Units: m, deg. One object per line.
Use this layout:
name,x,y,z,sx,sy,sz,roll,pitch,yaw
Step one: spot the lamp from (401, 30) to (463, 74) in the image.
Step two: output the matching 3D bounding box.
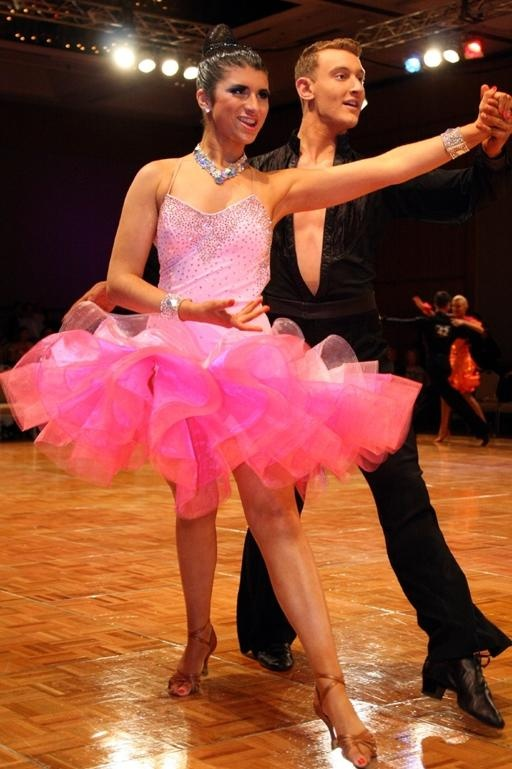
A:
lamp,2.793,-5.194,10.424,0.601,0.226,0.805,-11,16,11

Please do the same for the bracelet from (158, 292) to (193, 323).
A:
bracelet,-0.155,-0.143,1.219,0.062,0.039,0.032,4,-16,-22

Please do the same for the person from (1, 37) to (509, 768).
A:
person,-0.058,-0.072,1.361,0.818,1.413,0.524,-7,-11,37

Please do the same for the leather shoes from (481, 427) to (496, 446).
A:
leather shoes,3.459,0.789,9.915,0.118,0.260,0.262,-5,29,-4

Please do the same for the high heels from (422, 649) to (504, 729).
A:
high heels,0.411,0.618,1.358,0.078,0.107,0.231,14,-7,-31

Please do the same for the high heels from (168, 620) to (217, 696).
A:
high heels,-0.138,0.642,1.539,0.078,0.091,0.210,-1,0,12
